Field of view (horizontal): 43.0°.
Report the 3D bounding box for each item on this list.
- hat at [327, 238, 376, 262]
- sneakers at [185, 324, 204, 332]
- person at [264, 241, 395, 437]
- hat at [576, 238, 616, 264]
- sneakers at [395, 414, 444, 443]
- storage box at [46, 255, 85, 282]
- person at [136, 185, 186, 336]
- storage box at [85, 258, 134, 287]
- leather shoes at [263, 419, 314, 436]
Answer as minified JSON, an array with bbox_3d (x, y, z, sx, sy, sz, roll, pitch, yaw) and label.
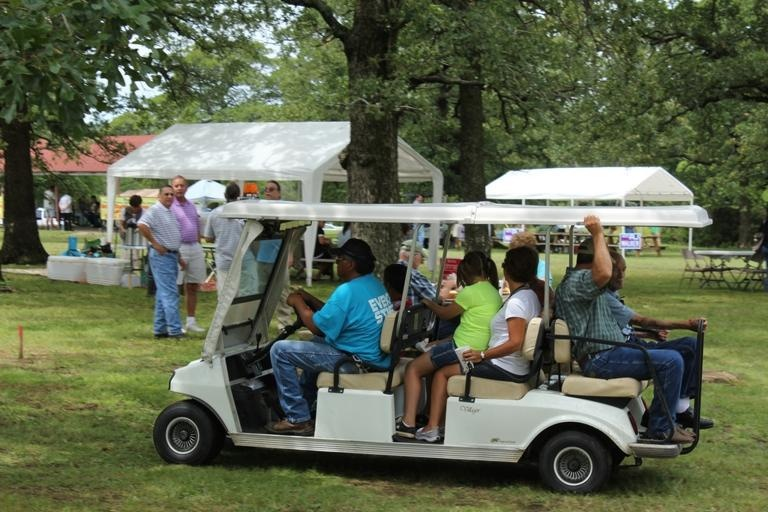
[{"bbox_3d":[-0.306,-0.064,10.028,0.402,0.152,0.232,6,1,2],"label":"hat"},{"bbox_3d":[-2.778,1.078,14.679,0.363,0.117,0.113,1,3,-1],"label":"sneakers"},{"bbox_3d":[-0.529,0.812,9.917,1.225,1.976,0.351,0,1,0],"label":"person"},{"bbox_3d":[2.297,-0.059,10.349,0.488,0.218,0.270,-8,12,-24],"label":"hat"},{"bbox_3d":[0.329,1.757,9.775,0.597,0.189,0.187,3,-3,8],"label":"sneakers"},{"bbox_3d":[-6.405,0.247,19.694,0.844,0.388,0.551,2,2,16],"label":"storage box"},{"bbox_3d":[-3.184,0.093,14.002,0.606,2.208,0.739,0,1,-8],"label":"person"},{"bbox_3d":[-5.565,0.315,19.473,0.767,0.364,0.661,3,3,5],"label":"storage box"},{"bbox_3d":[-0.925,1.749,9.901,0.396,0.144,0.178,4,-3,7],"label":"leather shoes"}]
